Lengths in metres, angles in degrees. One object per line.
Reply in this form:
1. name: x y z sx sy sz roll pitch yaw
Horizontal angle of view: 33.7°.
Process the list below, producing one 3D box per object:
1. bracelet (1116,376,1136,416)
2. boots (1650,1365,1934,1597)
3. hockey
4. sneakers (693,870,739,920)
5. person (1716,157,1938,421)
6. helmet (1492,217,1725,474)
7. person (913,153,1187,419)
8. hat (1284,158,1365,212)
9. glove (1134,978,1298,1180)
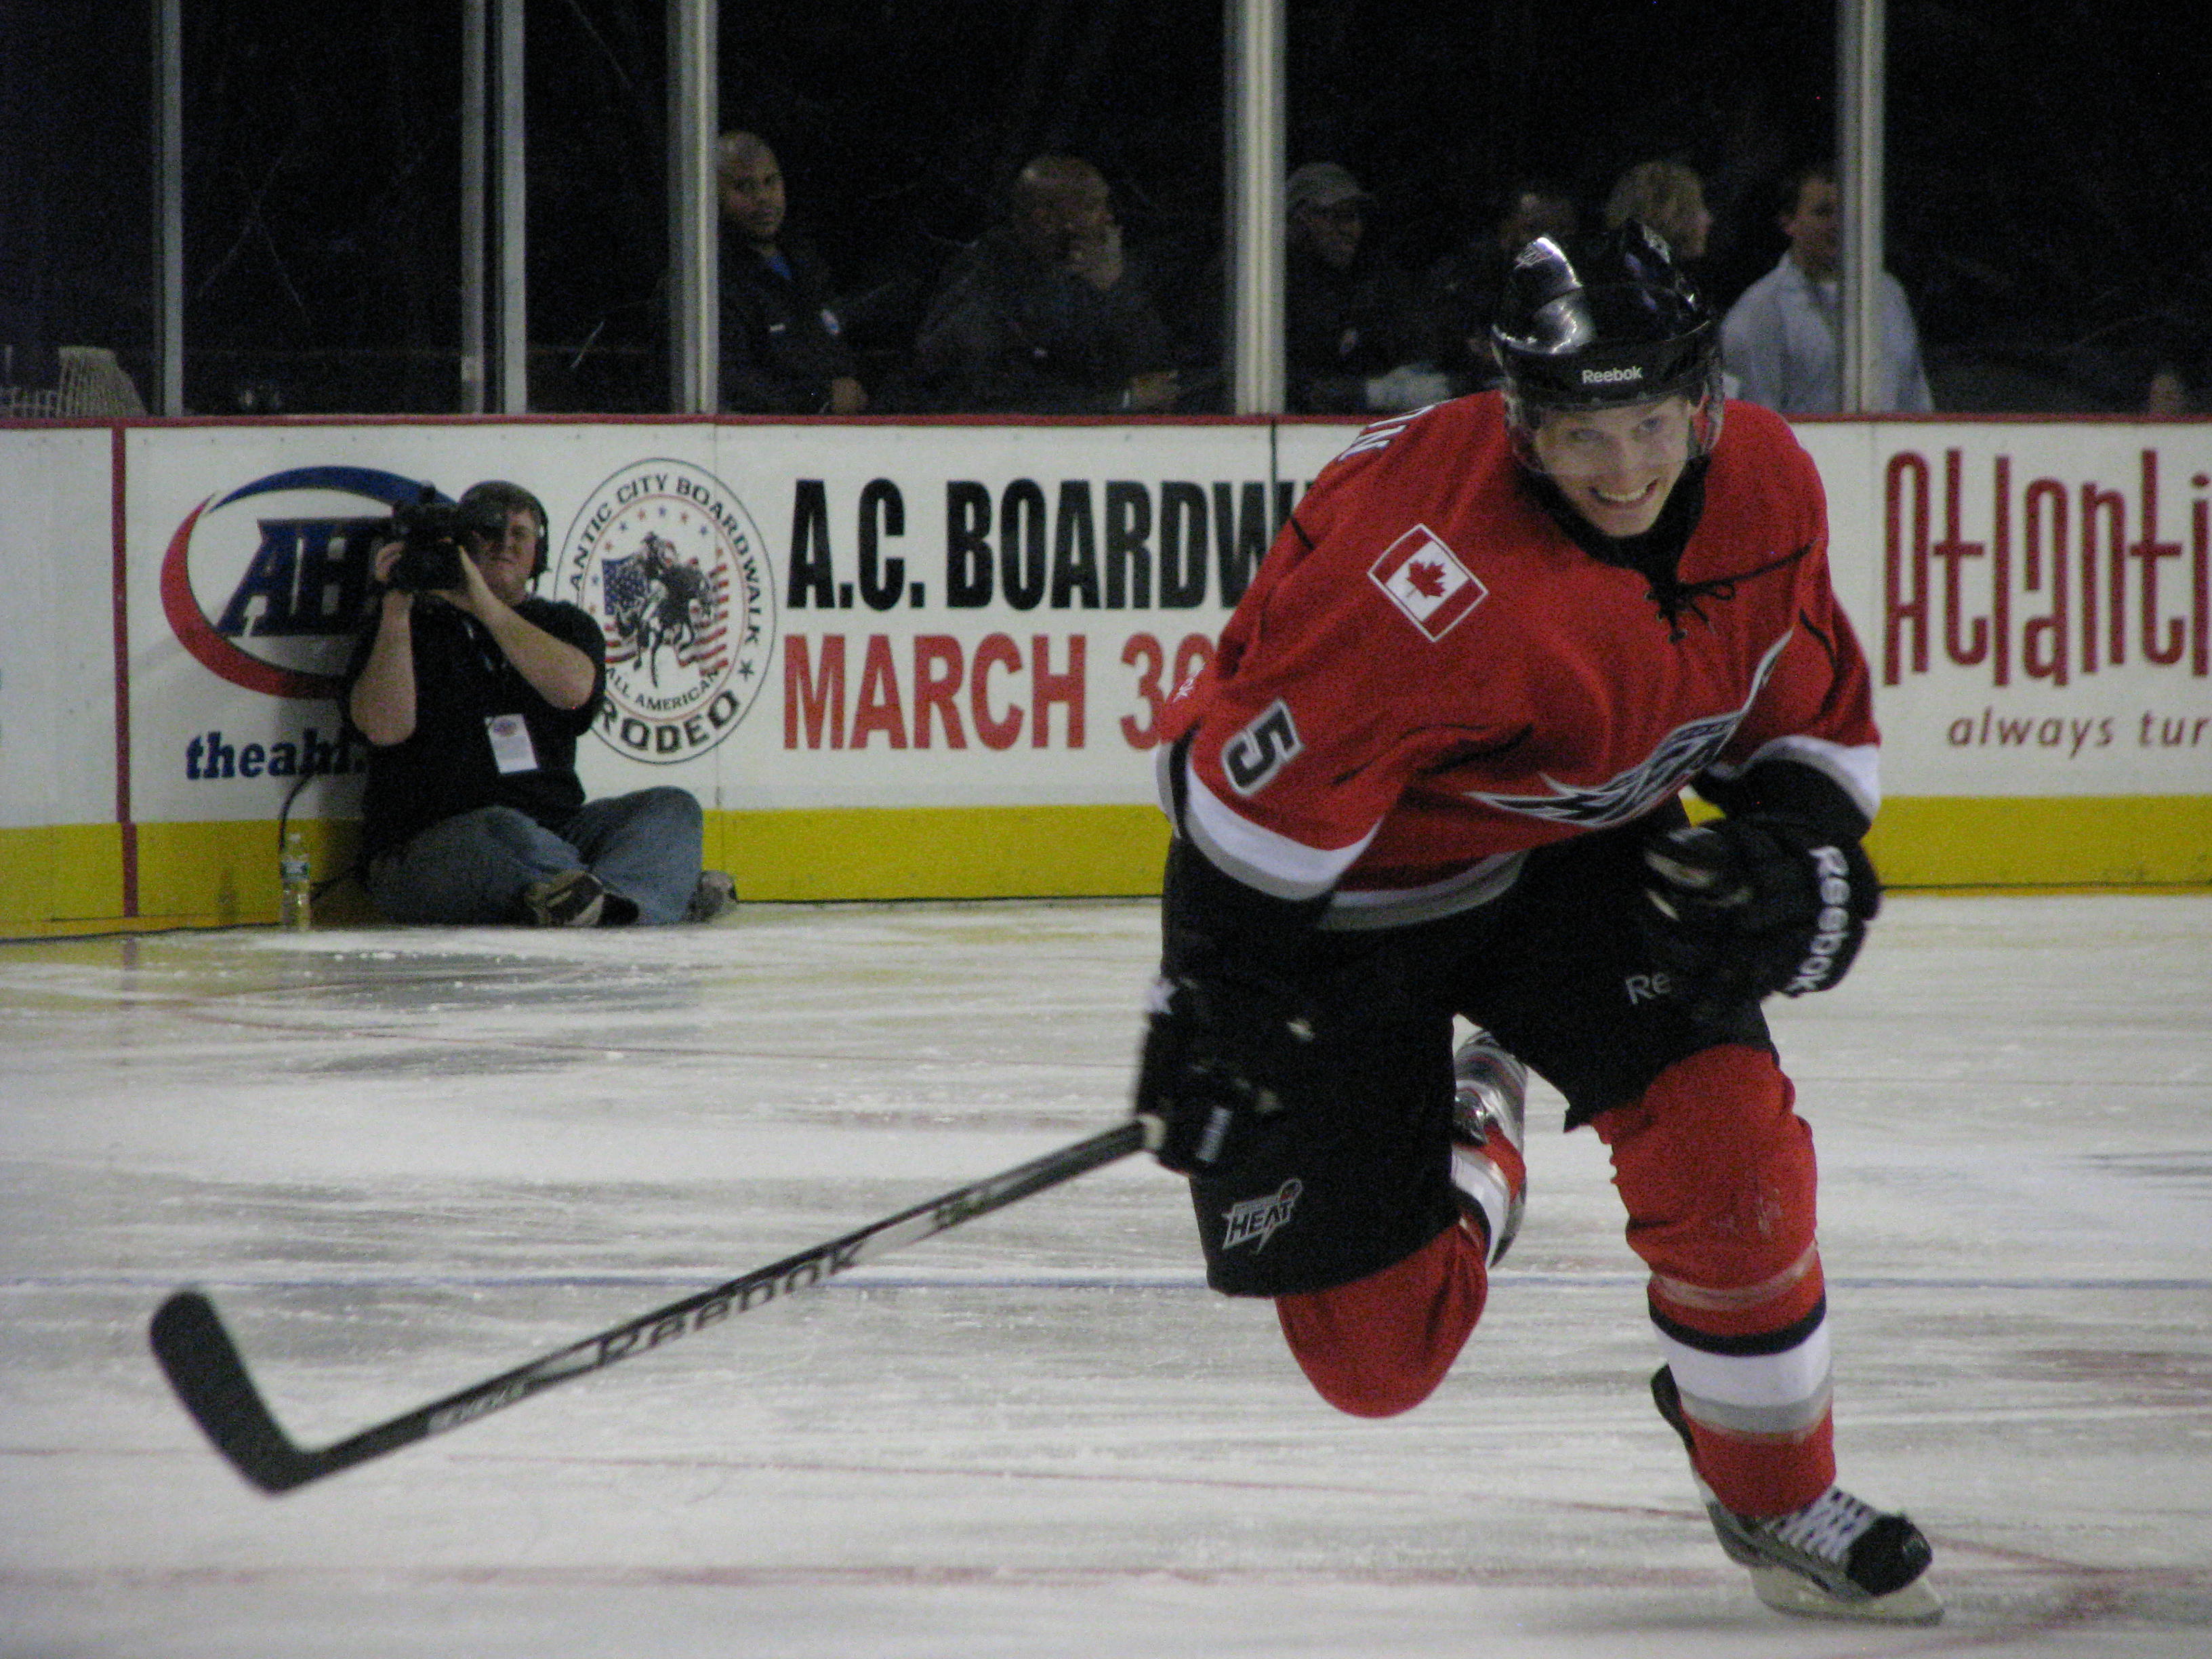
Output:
1. bracelet: 0.062 -1.188 9.958 0.081 0.074 0.019 0 0 -9
2. boots: 1.048 1.038 5.612 0.132 0.440 0.197 -37 -7 0
3. hockey: -0.618 0.643 5.926 1.857 0.528 0.178 -6 -10 -36
4. sneakers: -1.014 0.161 9.416 0.089 0.114 0.044 10 2 -11
5. person: 1.980 -1.450 9.994 0.655 0.849 0.293 -2 44 15
6. helmet: 0.762 -0.766 5.662 0.358 0.401 0.441 -2 16 16
7. person: -0.159 -1.519 10.099 0.426 0.643 0.701 -3 13 0
8. hat: 0.583 -1.739 9.859 0.169 0.084 0.127 -10 -1 27
9. glove: 0.157 0.386 5.710 0.236 0.312 0.115 15 16 -10
